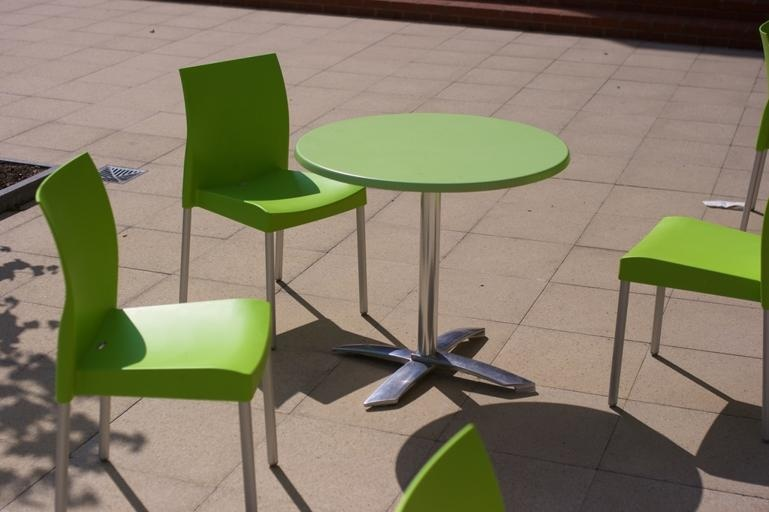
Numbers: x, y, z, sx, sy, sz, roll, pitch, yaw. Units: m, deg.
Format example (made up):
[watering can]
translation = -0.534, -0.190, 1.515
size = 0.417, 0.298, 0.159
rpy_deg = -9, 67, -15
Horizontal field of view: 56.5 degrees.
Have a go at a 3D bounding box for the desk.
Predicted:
[desk]
translation = 0.261, -0.077, 3.462
size = 1.230, 1.064, 1.285
rpy_deg = -8, 40, -5

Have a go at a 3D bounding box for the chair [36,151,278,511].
[chair]
translation = -0.811, 0.288, 2.693
size = 0.739, 1.257, 0.903
rpy_deg = -2, 41, 3
